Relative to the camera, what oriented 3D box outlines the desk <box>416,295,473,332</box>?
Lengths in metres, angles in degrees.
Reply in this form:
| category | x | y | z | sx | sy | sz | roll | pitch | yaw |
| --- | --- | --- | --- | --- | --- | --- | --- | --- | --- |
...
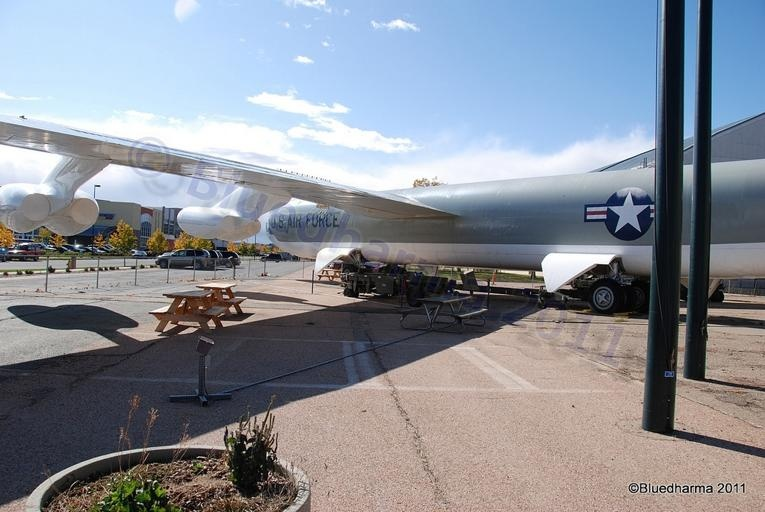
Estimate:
| category | x | y | z | sx | sy | sz | roll | pitch | yaw |
| --- | --- | --- | --- | --- | --- | --- | --- | --- | --- |
| desk | 1.810 | 1.655 | 12.519 | 1.815 | 0.554 | 2.679 | 2 | -5 | 24 |

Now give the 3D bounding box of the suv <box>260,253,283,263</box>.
| category | x | y | z | sx | sy | sz | roll | pitch | yaw |
| --- | --- | --- | --- | --- | --- | --- | --- | --- | --- |
| suv | -17.158 | 0.395 | 67.925 | 3.098 | 1.064 | 1.361 | 4 | -2 | 4 |
